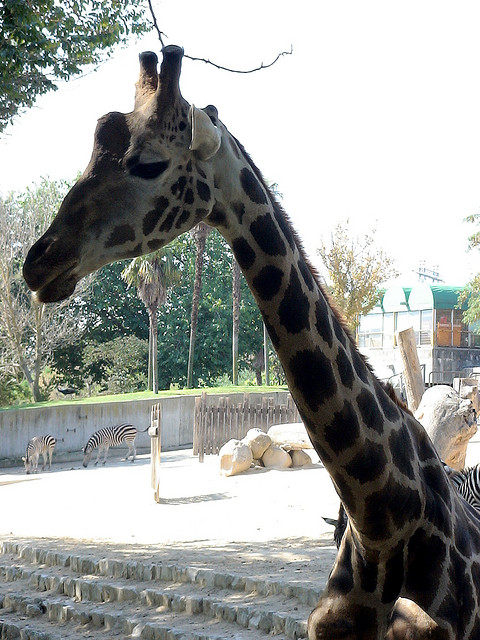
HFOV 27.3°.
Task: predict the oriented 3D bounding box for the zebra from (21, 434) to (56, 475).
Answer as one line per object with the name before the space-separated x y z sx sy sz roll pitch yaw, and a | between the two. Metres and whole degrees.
zebra | -5.007 3.427 24.999 0.281 0.881 1.236 -2 8 28
